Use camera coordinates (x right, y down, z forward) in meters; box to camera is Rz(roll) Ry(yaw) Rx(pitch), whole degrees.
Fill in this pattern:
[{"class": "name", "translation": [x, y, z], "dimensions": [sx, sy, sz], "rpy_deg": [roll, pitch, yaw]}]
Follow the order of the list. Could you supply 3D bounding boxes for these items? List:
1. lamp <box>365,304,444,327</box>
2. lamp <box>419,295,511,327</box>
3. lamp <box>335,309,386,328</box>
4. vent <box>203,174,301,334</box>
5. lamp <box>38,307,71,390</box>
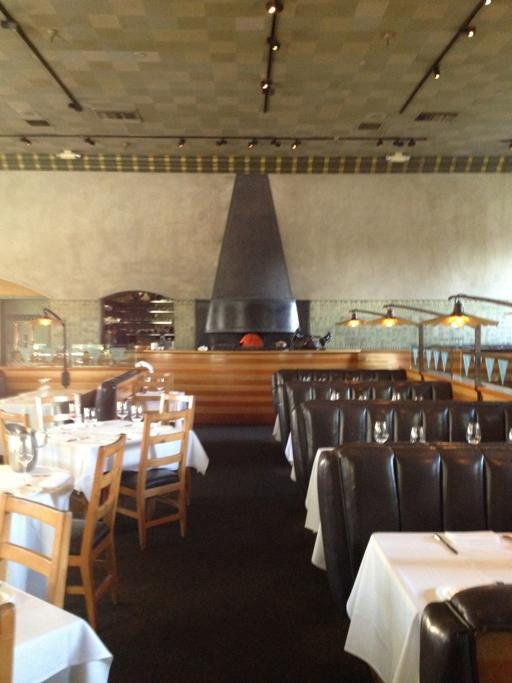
[{"class": "lamp", "translation": [2.310, -0.416, 7.808], "dimensions": [0.826, 0.239, 0.594], "rpy_deg": [1, 1, 9]}, {"class": "lamp", "translation": [3.155, -0.468, 7.457], "dimensions": [1.087, 0.400, 0.787], "rpy_deg": [0, 0, 10]}, {"class": "lamp", "translation": [1.719, -0.366, 8.015], "dimensions": [0.792, 0.245, 0.593], "rpy_deg": [-3, 0, -3]}, {"class": "vent", "translation": [-0.038, -1.515, 8.928], "dimensions": [1.456, 2.666, 0.616], "rpy_deg": [0, 1, -5]}, {"class": "lamp", "translation": [-2.681, 0.112, 6.678], "dimensions": [0.427, 1.082, 0.257], "rpy_deg": [1, 5, -4]}]
